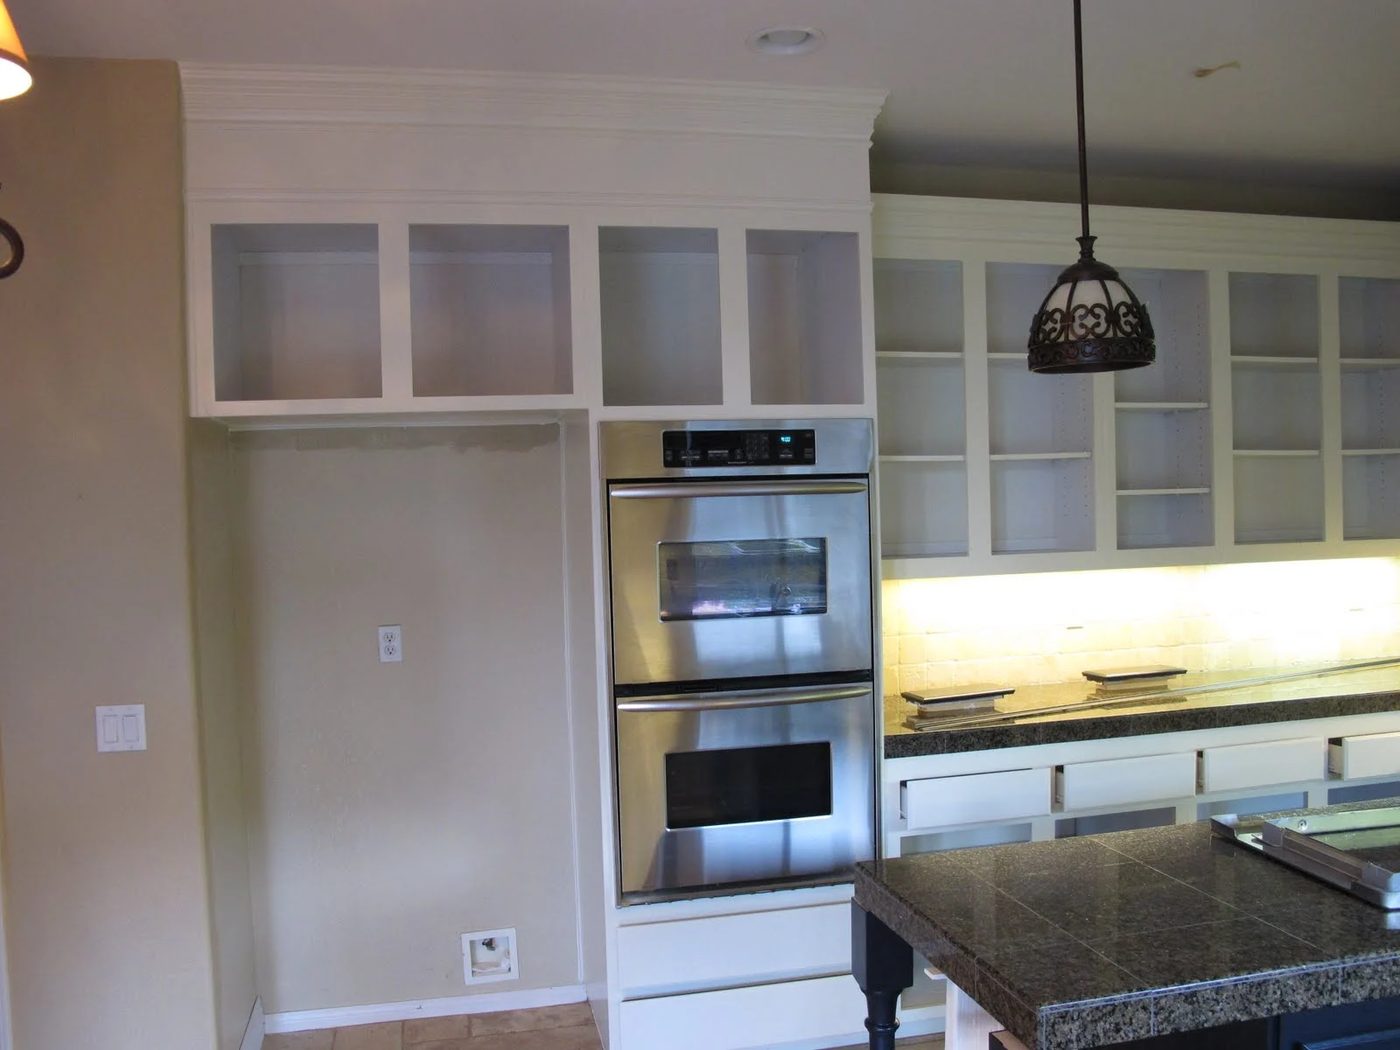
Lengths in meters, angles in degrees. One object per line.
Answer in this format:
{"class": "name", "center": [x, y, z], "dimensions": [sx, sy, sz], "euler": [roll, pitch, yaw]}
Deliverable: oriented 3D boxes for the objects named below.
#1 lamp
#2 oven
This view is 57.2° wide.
{"class": "lamp", "center": [1.151, -0.984, 3.864], "dimensions": [0.313, 1.053, 1.288], "euler": [-5, 0, 19]}
{"class": "oven", "center": [0.102, 0.413, 4.489], "dimensions": [0.954, 1.580, 0.818], "euler": [-3, 5, -14]}
